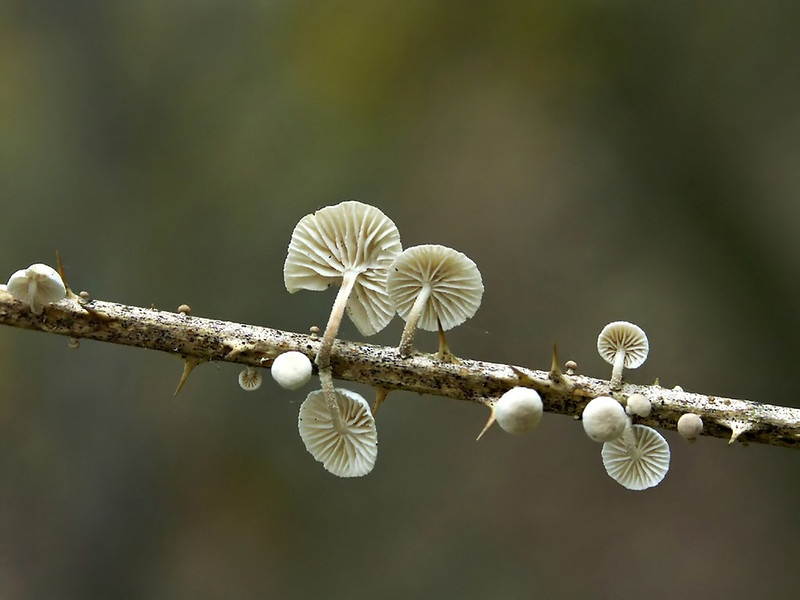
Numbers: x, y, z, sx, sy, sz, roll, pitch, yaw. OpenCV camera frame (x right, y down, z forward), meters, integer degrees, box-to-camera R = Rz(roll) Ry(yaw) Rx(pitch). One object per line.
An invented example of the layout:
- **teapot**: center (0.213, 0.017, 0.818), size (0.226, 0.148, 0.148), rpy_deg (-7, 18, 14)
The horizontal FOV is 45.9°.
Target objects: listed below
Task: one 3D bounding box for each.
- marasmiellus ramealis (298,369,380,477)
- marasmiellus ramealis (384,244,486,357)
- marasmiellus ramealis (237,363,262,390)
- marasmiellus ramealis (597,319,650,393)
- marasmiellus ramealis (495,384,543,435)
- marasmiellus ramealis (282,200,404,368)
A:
- **marasmiellus ramealis**: center (-0.531, 1.111, 7.824), size (0.656, 0.820, 0.237), rpy_deg (10, 12, 16)
- **marasmiellus ramealis**: center (0.244, 0.119, 7.812), size (0.674, 0.960, 0.924), rpy_deg (12, -26, -5)
- **marasmiellus ramealis**: center (-1.260, 0.671, 7.892), size (0.157, 0.217, 0.231), rpy_deg (3, 13, -15)
- **marasmiellus ramealis**: center (1.828, 0.459, 7.832), size (0.390, 0.569, 0.235), rpy_deg (7, 12, 4)
- **marasmiellus ramealis**: center (0.900, 0.864, 7.336), size (0.359, 0.326, 0.212), rpy_deg (8, 12, 7)
- **marasmiellus ramealis**: center (-0.494, -0.166, 7.894), size (0.955, 1.348, 0.636), rpy_deg (4, 12, -8)
